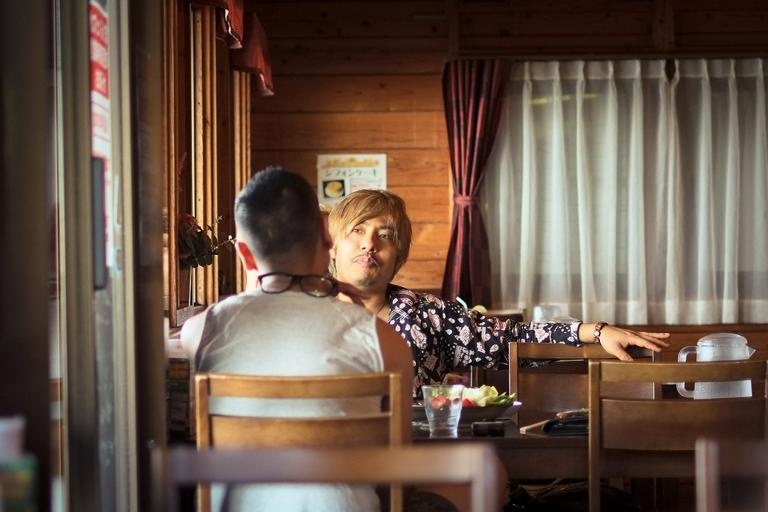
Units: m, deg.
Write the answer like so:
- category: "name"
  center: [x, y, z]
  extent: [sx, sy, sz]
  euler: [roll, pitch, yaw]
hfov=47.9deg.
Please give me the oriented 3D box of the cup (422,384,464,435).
- category: "cup"
  center: [0.186, 0.494, 2.737]
  extent: [0.138, 0.152, 0.139]
  euler: [-2, -10, 0]

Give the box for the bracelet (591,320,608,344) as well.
- category: "bracelet"
  center: [0.759, 0.268, 3.029]
  extent: [0.070, 0.075, 0.048]
  euler: [10, 7, -41]

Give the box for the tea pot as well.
- category: "tea pot"
  center: [1.116, 0.393, 2.918]
  extent: [0.255, 0.233, 0.152]
  euler: [-3, -10, 35]
